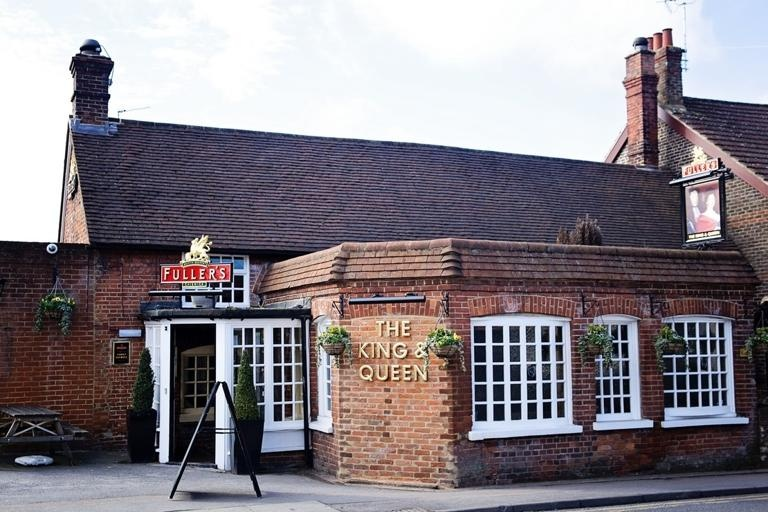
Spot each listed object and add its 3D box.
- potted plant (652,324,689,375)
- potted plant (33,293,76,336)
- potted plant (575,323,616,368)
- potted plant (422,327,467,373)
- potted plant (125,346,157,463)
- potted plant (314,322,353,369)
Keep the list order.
[{"bbox_3d":[7.246,2.310,27.447,0.626,1.198,0.853,-1,8,28],"label":"potted plant"},{"bbox_3d":[-8.836,1.587,29.215,1.309,1.230,1.027,0,-1,25],"label":"potted plant"},{"bbox_3d":[5.105,2.150,26.989,1.185,1.232,0.974,-2,-15,8],"label":"potted plant"},{"bbox_3d":[1.486,2.148,25.543,0.964,0.884,0.962,5,-10,-26],"label":"potted plant"},{"bbox_3d":[-6.288,3.870,28.085,0.560,2.767,0.964,1,9,37],"label":"potted plant"},{"bbox_3d":[-1.164,2.178,26.549,1.146,1.034,0.969,1,-12,-6],"label":"potted plant"}]
